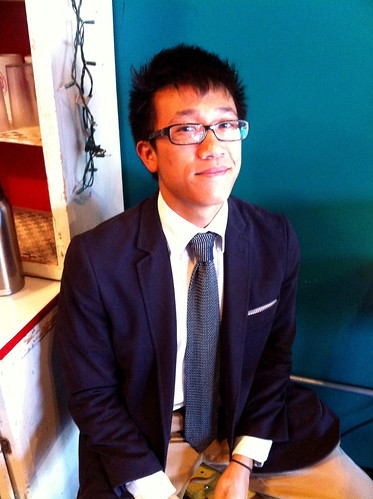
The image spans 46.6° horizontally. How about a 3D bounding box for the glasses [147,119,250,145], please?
[{"bbox_3d":[0.031,-0.272,1.015,0.233,0.064,0.118,0,12,-8],"label":"glasses"}]
